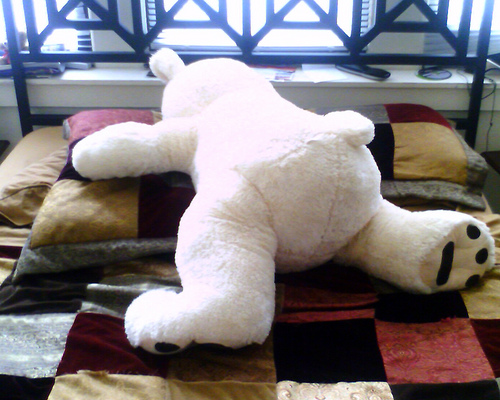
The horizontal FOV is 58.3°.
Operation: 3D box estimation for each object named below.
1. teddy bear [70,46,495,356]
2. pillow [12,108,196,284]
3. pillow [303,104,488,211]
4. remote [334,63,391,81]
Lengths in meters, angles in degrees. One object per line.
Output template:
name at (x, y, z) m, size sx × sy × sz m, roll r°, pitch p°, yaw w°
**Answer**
teddy bear at (-0.016, -0.024, 1.115) m, size 0.775 × 0.583 × 0.848 m, roll -20°, pitch 30°, yaw -36°
pillow at (-0.416, -0.013, 1.392) m, size 0.508 × 0.138 × 0.514 m, roll -2°, pitch 50°, yaw -2°
pillow at (0.596, -0.132, 1.620) m, size 0.544 × 0.117 × 0.465 m, roll -3°, pitch 39°, yaw -3°
remote at (0.491, -0.559, 1.923) m, size 0.103 × 0.033 × 0.185 m, roll -20°, pitch 43°, yaw -36°
